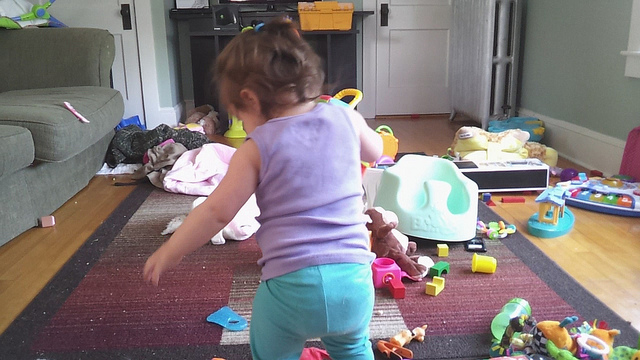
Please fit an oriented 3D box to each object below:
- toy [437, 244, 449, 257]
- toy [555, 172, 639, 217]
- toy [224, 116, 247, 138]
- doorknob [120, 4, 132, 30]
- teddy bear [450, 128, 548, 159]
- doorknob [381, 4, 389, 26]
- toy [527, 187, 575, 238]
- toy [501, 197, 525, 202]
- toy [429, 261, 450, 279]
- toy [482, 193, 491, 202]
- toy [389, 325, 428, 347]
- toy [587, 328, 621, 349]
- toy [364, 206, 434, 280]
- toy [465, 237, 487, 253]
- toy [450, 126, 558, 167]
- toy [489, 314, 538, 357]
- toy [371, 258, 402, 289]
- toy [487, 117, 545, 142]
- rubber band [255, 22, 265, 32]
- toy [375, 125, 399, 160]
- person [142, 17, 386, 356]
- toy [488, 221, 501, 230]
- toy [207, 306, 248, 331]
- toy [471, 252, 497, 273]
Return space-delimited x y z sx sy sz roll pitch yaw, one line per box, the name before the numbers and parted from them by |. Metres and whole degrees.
toy | 0.654 0.376 2.302 0.060 0.054 0.058 1 14 -1
toy | 1.759 0.069 2.726 0.488 0.260 0.351 -2 3 3
toy | -0.841 -0.503 4.147 0.197 0.172 0.154 -8 22 -12
doorknob | -1.832 -1.542 4.031 0.089 0.217 0.044 -5 22 -2
teddy bear | 1.331 -0.265 3.194 0.450 0.154 0.324 0 9 3
doorknob | 0.687 -1.767 4.575 0.074 0.216 0.041 -2 22 5
toy | 1.378 0.176 2.531 0.247 0.207 0.402 11 21 36
toy | 1.278 0.132 2.837 0.152 0.017 0.062 0 21 8
toy | 0.615 0.453 2.180 0.130 0.067 0.060 -19 26 -35
toy | 1.098 0.118 2.826 0.048 0.049 0.048 2 22 12
toy | 0.377 0.656 1.839 0.116 0.043 0.068 -21 21 -38
toy | 1.101 0.624 1.672 0.088 0.085 0.095 13 27 36
toy | 0.379 0.331 2.181 0.290 0.388 0.304 2 3 -30
toy | 0.855 0.355 2.359 0.110 0.050 0.091 2 22 12
toy | 1.404 -0.249 3.229 0.773 0.322 0.287 -4 22 -1
toy | 0.803 0.649 1.771 0.229 0.101 0.179 2 18 5
toy | 0.325 0.461 2.119 0.143 0.115 0.127 0 22 8
toy | 1.749 -0.498 3.753 0.578 0.207 0.540 6 18 30
rubber band | -0.205 -0.517 1.451 0.028 0.024 0.082 0 21 7
toy | 0.507 -0.280 3.124 0.198 0.253 0.087 -3 8 41
person | -0.135 0.123 1.537 0.660 1.320 0.467 2 23 13
toy | 1.013 0.264 2.485 0.064 0.030 0.106 3 22 16
toy | -0.416 0.638 1.945 0.179 0.041 0.100 10 25 30
toy | 0.825 0.427 2.163 0.100 0.090 0.094 3 14 2
